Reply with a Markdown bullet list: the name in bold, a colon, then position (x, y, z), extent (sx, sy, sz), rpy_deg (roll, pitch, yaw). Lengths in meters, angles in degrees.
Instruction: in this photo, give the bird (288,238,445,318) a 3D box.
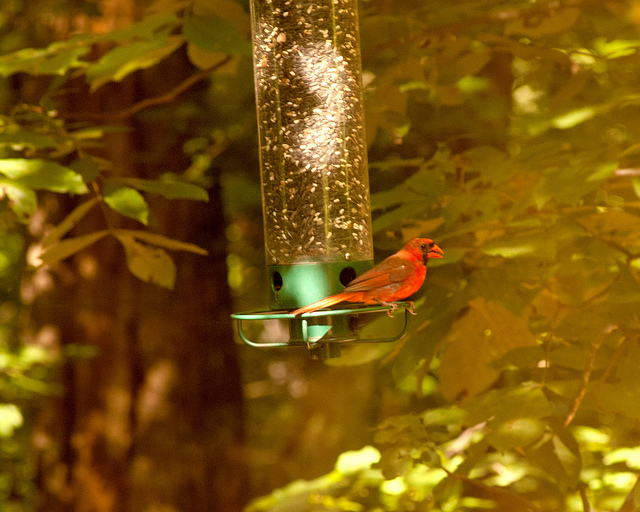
- **bird**: position (0.174, 0.169, 4.710), extent (1.311, 0.305, 0.522), rpy_deg (3, 63, -14)
